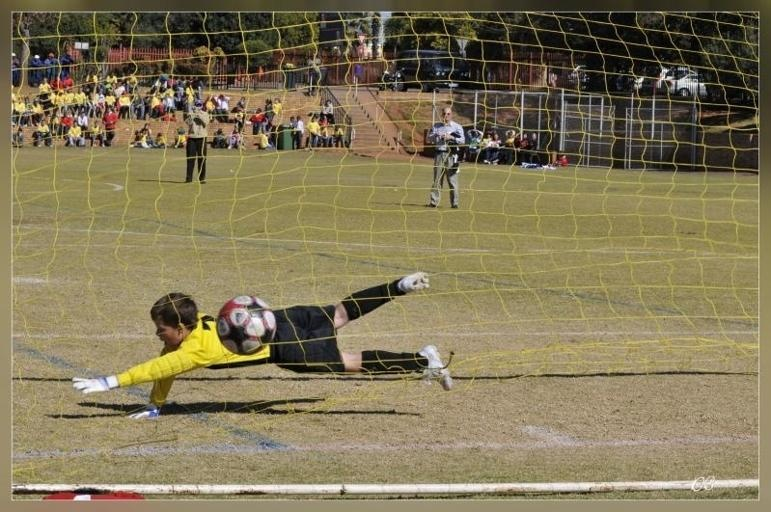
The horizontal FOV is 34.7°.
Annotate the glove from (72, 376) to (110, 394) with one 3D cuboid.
[{"bbox_3d":[-3.291,1.464,13.864,0.470,0.207,0.109,-1,-25,-19],"label":"glove"}]

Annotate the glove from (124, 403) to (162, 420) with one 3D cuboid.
[{"bbox_3d":[-2.834,1.822,14.445,0.461,0.163,0.144,5,8,-3],"label":"glove"}]

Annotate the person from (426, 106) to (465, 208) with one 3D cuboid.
[{"bbox_3d":[1.155,-1.855,23.180,0.766,1.811,0.655,1,6,-4],"label":"person"}]

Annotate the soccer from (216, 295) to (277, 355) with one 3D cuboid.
[{"bbox_3d":[-1.522,0.814,14.313,0.836,0.646,0.660,-1,-38,4],"label":"soccer"}]
